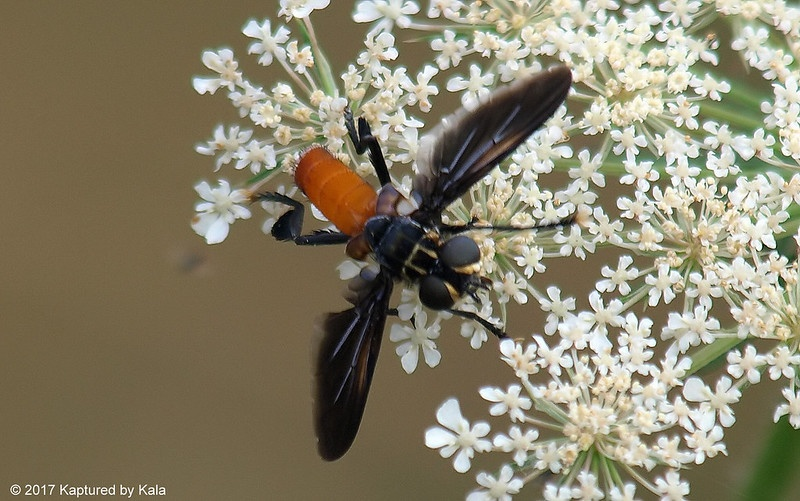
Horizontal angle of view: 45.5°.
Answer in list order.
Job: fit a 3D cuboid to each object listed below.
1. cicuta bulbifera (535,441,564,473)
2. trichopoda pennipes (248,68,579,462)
[{"bbox_3d":[0.640,0.904,4.186,0.128,0.035,0.130,10,-89,-2],"label":"cicuta bulbifera"},{"bbox_3d":[0.017,-0.066,4.393,1.428,0.463,1.973,33,-85,9],"label":"trichopoda pennipes"}]
